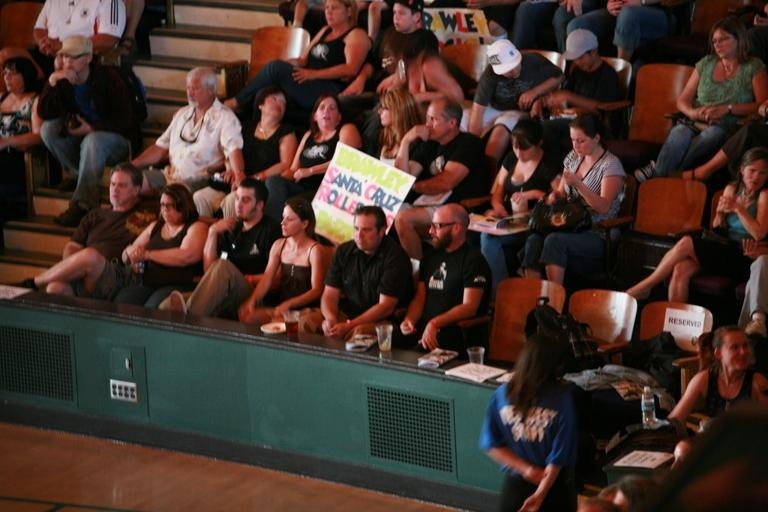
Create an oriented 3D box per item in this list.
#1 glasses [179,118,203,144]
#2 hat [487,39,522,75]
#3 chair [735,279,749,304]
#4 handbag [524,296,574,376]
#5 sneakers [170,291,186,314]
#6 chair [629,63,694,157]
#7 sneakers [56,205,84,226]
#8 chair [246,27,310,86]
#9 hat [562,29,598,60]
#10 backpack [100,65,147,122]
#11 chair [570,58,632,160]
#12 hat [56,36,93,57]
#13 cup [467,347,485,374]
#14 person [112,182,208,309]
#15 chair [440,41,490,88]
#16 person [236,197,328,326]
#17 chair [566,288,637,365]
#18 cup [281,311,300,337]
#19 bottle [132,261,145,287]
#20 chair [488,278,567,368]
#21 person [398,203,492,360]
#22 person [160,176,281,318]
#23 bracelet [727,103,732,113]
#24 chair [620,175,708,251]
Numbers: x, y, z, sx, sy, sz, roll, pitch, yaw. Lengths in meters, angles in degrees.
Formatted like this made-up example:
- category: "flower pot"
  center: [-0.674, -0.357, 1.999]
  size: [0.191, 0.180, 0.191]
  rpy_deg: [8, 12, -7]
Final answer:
- category: "glasses"
  center: [-2.092, -1.360, 8.775]
  size: [0.176, 0.320, 0.075]
  rpy_deg: [12, -18, 28]
- category: "hat"
  center: [1.271, -2.090, 8.509]
  size: [0.356, 0.358, 0.210]
  rpy_deg: [10, 13, 7]
- category: "chair"
  center: [3.043, 0.298, 6.892]
  size: [0.148, 0.160, 0.144]
  rpy_deg: [3, 5, 38]
- category: "handbag"
  center: [1.291, 0.623, 6.318]
  size: [0.372, 0.633, 0.203]
  rpy_deg: [-6, -22, -30]
- category: "sneakers"
  center: [-1.814, 0.400, 7.099]
  size: [0.120, 0.215, 0.060]
  rpy_deg: [-5, 7, 34]
- category: "chair"
  center: [3.036, -1.649, 8.887]
  size: [0.747, 1.153, 0.821]
  rpy_deg: [7, 10, 21]
- category: "sneakers"
  center: [-3.496, -0.437, 9.032]
  size: [0.214, 0.277, 0.099]
  rpy_deg: [45, 2, 13]
- category: "chair"
  center: [-1.234, -2.476, 10.156]
  size: [0.648, 1.026, 0.727]
  rpy_deg: [5, 11, 13]
- category: "hat"
  center: [2.080, -2.238, 8.467]
  size: [0.351, 0.200, 0.256]
  rpy_deg: [-28, 33, -15]
- category: "backpack"
  center: [-2.952, -1.873, 9.320]
  size: [0.453, 0.581, 0.307]
  rpy_deg: [2, 14, -25]
- category: "chair"
  center: [2.324, -1.622, 8.461]
  size: [0.709, 0.907, 0.917]
  rpy_deg: [8, 13, 0]
- category: "hat"
  center: [-3.428, -2.326, 9.017]
  size: [0.229, 0.168, 0.326]
  rpy_deg: [3, 5, 24]
- category: "cup"
  center: [0.694, 0.765, 6.049]
  size: [0.146, 0.166, 0.144]
  rpy_deg: [-3, 3, 0]
- category: "person"
  center: [-2.173, 0.138, 7.847]
  size: [0.712, 1.629, 0.870]
  rpy_deg: [8, 9, 30]
- category: "chair"
  center: [0.929, -2.261, 9.245]
  size: [0.403, 0.543, 0.479]
  rpy_deg: [-5, -13, 9]
- category: "person"
  center: [-0.881, 0.083, 7.218]
  size: [0.818, 1.077, 0.751]
  rpy_deg: [-3, 11, -28]
- category: "chair"
  center: [1.891, 0.585, 6.923]
  size: [0.579, 0.827, 0.588]
  rpy_deg: [2, 2, 23]
- category: "cup"
  center: [-0.720, 0.543, 6.499]
  size: [0.158, 0.186, 0.165]
  rpy_deg: [0, -2, 0]
- category: "bottle"
  center: [-2.335, 0.152, 7.699]
  size: [0.119, 0.210, 0.127]
  rpy_deg: [7, 13, -2]
- category: "chair"
  center: [1.316, 0.520, 7.262]
  size: [0.630, 1.013, 0.710]
  rpy_deg: [4, 7, 25]
- category: "person"
  center: [0.506, 0.348, 7.038]
  size: [0.841, 1.595, 0.876]
  rpy_deg: [3, 5, 23]
- category: "person"
  center: [-1.475, 0.010, 7.410]
  size: [0.667, 1.358, 1.223]
  rpy_deg: [12, 10, 25]
- category: "bracelet"
  center: [3.364, -1.441, 7.859]
  size: [0.045, 0.069, 0.021]
  rpy_deg: [0, -4, 4]
- category: "chair"
  center: [2.752, -0.437, 7.935]
  size: [0.698, 0.754, 0.623]
  rpy_deg: [6, 6, 26]
